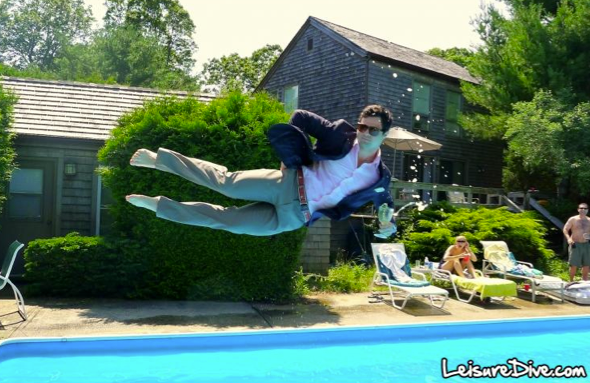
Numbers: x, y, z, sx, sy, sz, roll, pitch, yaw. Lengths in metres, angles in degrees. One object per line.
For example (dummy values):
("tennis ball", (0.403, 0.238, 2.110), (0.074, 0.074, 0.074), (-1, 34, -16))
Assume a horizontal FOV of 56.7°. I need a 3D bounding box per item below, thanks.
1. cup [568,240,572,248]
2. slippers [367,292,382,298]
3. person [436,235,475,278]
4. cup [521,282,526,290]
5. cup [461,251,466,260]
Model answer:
("cup", (8.080, 1.560, 16.115), (0.158, 0.264, 0.152), (1, -1, 0))
("slippers", (2.120, 2.753, 14.683), (0.398, 0.081, 0.281), (2, -1, -7))
("person", (4.587, 1.913, 15.636), (0.724, 1.261, 1.316), (14, -22, -32))
("cup", (6.554, 2.700, 15.691), (0.175, 0.169, 0.155), (4, -3, -40))
("cup", (4.785, 1.793, 15.560), (0.148, 0.107, 0.267), (5, 14, 7))
